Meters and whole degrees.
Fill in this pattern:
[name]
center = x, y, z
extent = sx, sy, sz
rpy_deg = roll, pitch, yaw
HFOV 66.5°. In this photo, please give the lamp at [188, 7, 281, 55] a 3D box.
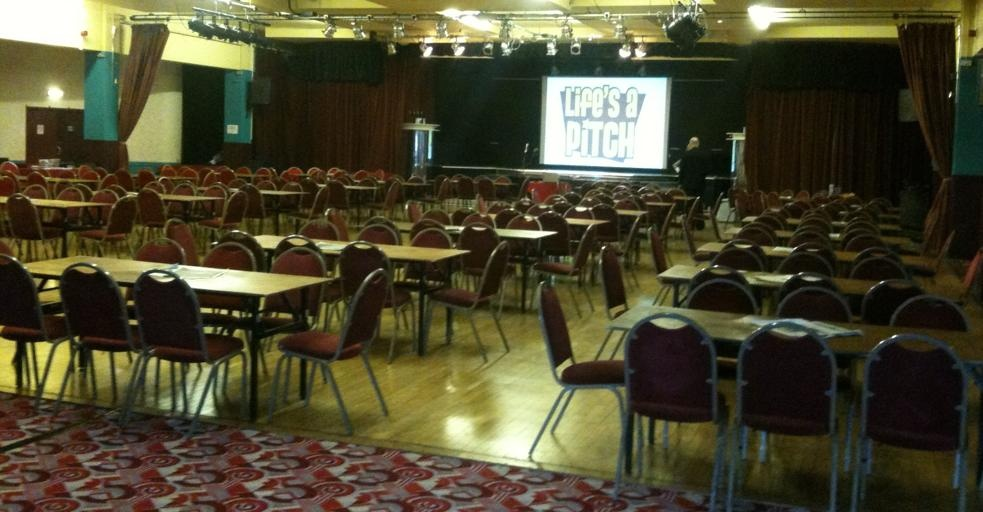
[lamp]
center = -6.594, -5.915, 19.340
extent = 1.457, 0.911, 3.738
rpy_deg = 2, 7, -7
